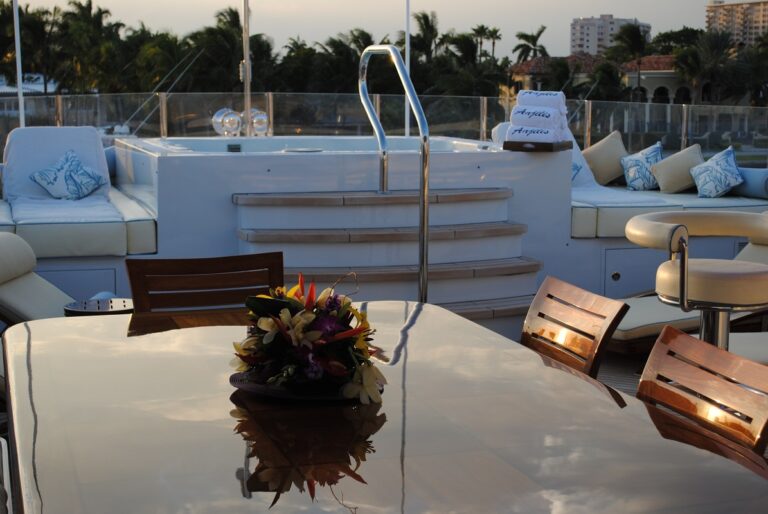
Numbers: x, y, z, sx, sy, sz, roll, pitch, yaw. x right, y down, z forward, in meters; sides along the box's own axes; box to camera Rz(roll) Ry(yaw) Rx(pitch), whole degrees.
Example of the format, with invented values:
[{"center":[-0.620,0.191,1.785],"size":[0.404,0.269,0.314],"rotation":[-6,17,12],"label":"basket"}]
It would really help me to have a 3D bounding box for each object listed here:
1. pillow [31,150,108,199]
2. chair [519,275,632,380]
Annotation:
[{"center":[-2.250,-0.563,5.612],"size":[0.354,0.365,0.112],"rotation":[-37,-9,-33],"label":"pillow"},{"center":[0.576,0.202,2.384],"size":[0.471,0.400,0.226],"rotation":[-1,-1,5],"label":"chair"}]
